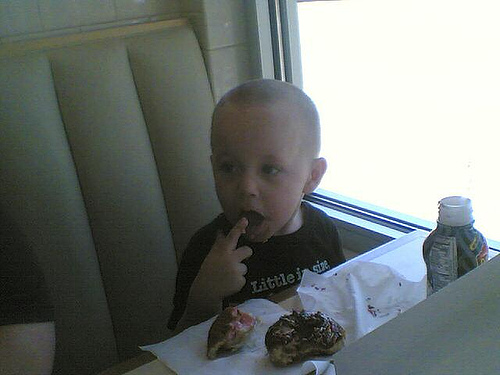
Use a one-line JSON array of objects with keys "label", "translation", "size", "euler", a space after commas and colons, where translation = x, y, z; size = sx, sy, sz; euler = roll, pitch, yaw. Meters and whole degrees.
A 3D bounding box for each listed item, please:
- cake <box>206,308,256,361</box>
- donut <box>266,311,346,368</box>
[{"label": "cake", "translation": [-0.054, 0.295, 0.885], "size": [0.117, 0.049, 0.094], "euler": [-25, 13, -33]}, {"label": "donut", "translation": [0.107, 0.289, 0.830], "size": [0.126, 0.046, 0.105], "euler": [-8, 33, -7]}]
